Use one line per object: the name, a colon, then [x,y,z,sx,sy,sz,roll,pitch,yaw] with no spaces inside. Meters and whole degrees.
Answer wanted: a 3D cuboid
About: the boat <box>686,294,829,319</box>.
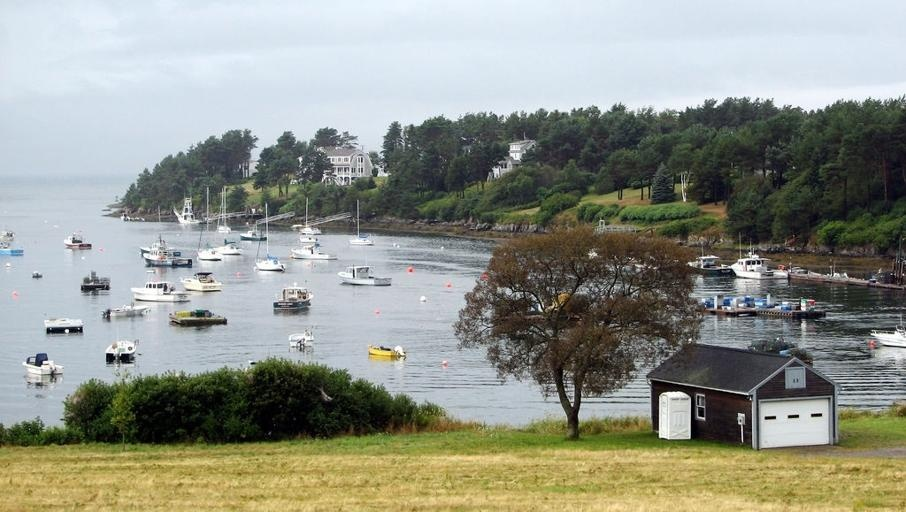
boat: [55.576,8.876,363.055,20.305,5.350,8.291,-3,-5,13]
